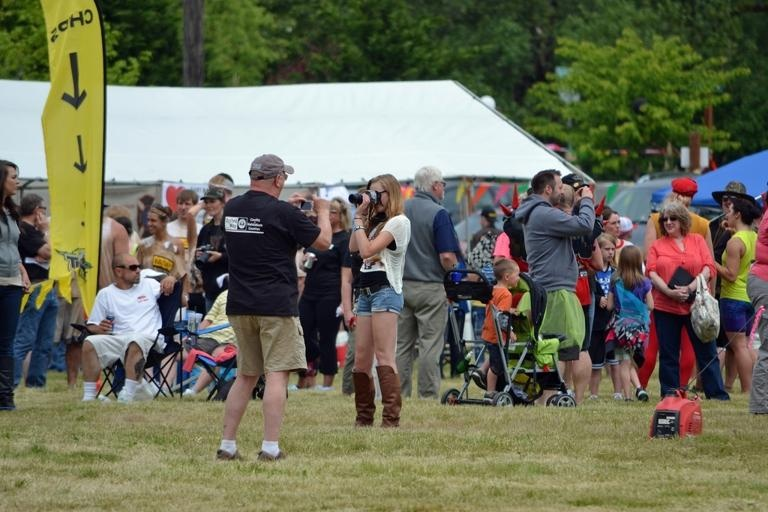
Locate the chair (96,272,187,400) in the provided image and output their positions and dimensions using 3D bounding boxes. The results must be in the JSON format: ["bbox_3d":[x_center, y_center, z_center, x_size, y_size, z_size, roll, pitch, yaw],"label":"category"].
[{"bbox_3d":[-4.246,1.258,32.890,1.879,2.408,1.759,0,-1,-3],"label":"chair"}]

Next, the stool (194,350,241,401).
[{"bbox_3d":[-2.658,1.984,32.246,0.590,0.950,0.935,-1,-16,17],"label":"stool"}]

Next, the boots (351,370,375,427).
[{"bbox_3d":[-0.303,2.169,30.178,0.324,0.824,0.337,0,-3,-1],"label":"boots"}]

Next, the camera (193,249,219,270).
[{"bbox_3d":[-2.977,0.040,32.672,0.368,0.277,0.223,-10,-51,21],"label":"camera"}]

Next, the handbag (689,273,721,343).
[{"bbox_3d":[5.238,0.831,31.571,0.373,1.099,0.365,6,-2,-27],"label":"handbag"}]

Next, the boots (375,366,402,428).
[{"bbox_3d":[0.074,2.128,30.072,0.359,0.934,0.353,0,-3,-1],"label":"boots"}]

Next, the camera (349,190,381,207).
[{"bbox_3d":[-0.369,-0.854,29.782,0.298,0.236,0.655,-3,-4,44],"label":"camera"}]
